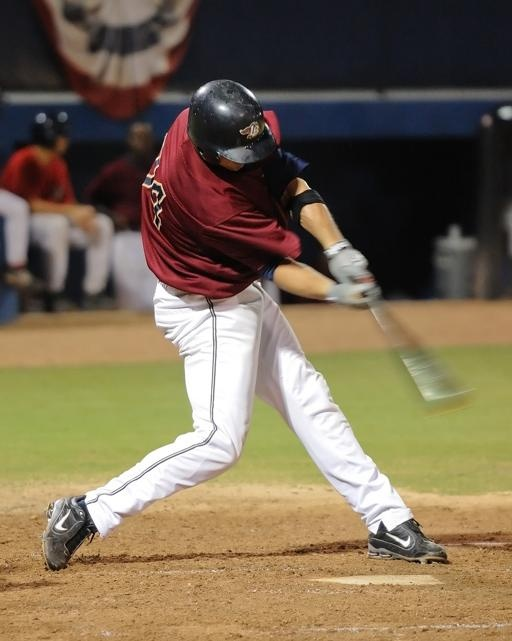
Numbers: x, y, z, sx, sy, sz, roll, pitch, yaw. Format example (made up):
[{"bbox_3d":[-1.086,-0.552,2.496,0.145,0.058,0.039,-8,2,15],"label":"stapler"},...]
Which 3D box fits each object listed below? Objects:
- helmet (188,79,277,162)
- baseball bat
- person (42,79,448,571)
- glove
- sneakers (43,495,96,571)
[{"bbox_3d":[-0.064,-0.471,2.037,0.200,0.206,0.138,-1,7,8],"label":"helmet"},{"bbox_3d":[0.360,0.046,2.174,0.151,0.458,0.020,-35,-17,-24],"label":"baseball bat"},{"bbox_3d":[-0.056,0.015,2.161,1.010,1.217,0.325,-3,8,-6],"label":"person"},{"bbox_3d":[0.236,-0.118,2.117,0.132,0.155,0.197,-2,7,4],"label":"glove"},{"bbox_3d":[-0.470,0.532,2.152,0.128,0.210,0.181,-4,7,-15],"label":"sneakers"}]
